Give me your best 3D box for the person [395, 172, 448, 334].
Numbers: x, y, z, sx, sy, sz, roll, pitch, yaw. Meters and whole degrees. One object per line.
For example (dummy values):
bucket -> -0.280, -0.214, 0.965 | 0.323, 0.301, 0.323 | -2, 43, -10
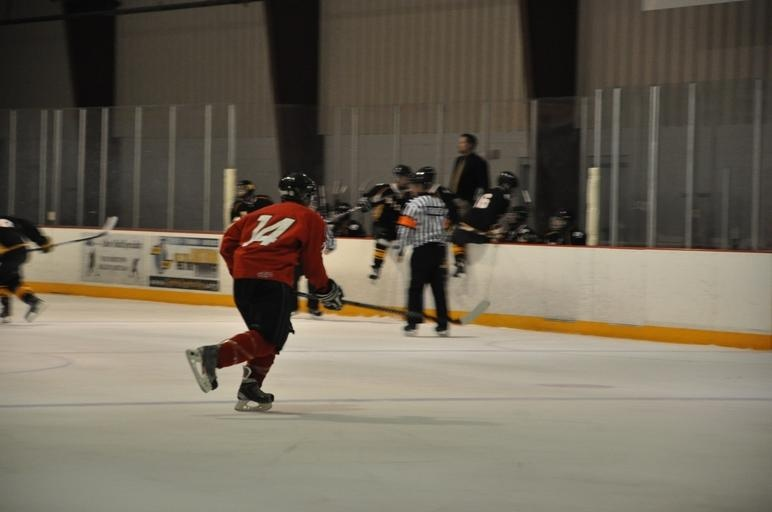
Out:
person -> 0.443, -0.006, 8.709 | 0.626, 1.929, 0.616 | 3, 9, 3

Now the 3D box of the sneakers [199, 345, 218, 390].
sneakers -> -1.209, 0.790, 5.320 | 0.094, 0.337, 0.158 | 5, 9, 19

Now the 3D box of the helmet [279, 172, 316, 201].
helmet -> -0.668, -0.524, 5.992 | 0.303, 0.227, 0.220 | -10, 33, -24

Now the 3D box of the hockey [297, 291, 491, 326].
hockey -> 0.198, 0.654, 9.370 | 2.471, 0.153, 0.278 | 9, 34, -1

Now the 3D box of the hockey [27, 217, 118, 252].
hockey -> -4.995, -0.328, 12.482 | 2.243, 0.374, 0.271 | -6, 43, 22

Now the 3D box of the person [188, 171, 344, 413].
person -> -0.848, 0.291, 5.669 | 1.037, 1.766, 1.025 | 2, 8, -2
